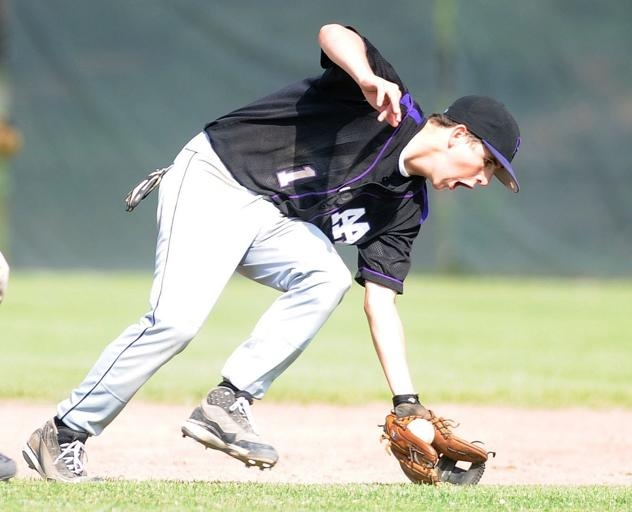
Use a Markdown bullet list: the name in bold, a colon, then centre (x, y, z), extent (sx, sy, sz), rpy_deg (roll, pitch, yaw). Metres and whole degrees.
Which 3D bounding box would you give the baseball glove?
- **baseball glove**: centre (0.617, 0.979, 5.216), extent (0.406, 0.204, 0.497), rpy_deg (1, 6, -10)

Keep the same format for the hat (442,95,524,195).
- **hat**: centre (0.866, -0.584, 5.190), extent (0.498, 0.302, 0.349), rpy_deg (41, -2, 8)
